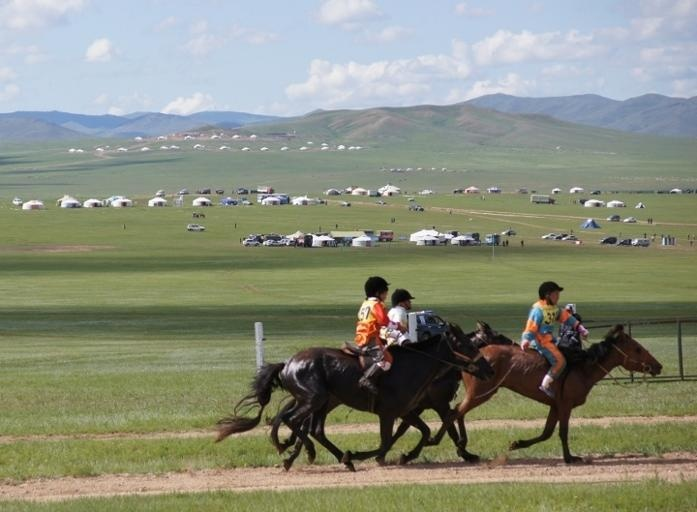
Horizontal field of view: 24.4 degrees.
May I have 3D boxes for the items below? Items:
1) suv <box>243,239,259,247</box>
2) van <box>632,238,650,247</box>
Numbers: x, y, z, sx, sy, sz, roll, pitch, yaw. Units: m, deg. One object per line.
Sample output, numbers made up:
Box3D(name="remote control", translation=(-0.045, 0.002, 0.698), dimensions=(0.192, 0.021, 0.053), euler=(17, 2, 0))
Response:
Box3D(name="suv", translation=(-17.819, -2.672, 290.360), dimensions=(2.441, 0.969, 1.385), euler=(-1, 6, -6))
Box3D(name="van", translation=(53.122, -2.763, 291.808), dimensions=(2.521, 1.093, 1.508), euler=(3, -1, -2))
